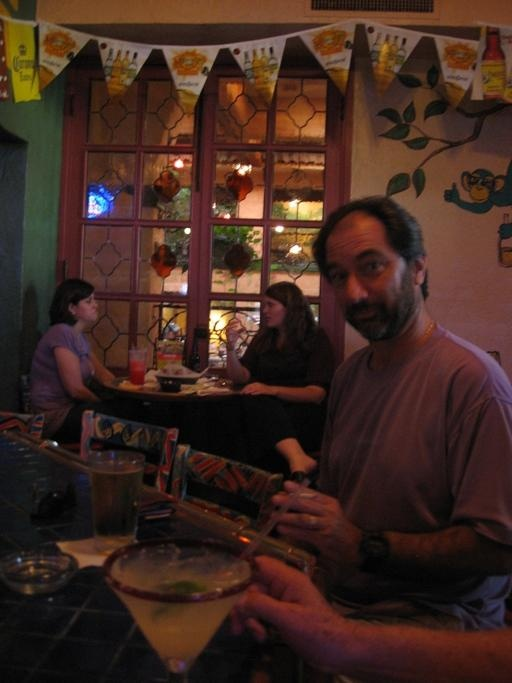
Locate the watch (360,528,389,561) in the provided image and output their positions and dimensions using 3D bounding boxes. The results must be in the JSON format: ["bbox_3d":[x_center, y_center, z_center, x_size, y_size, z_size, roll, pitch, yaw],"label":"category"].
[{"bbox_3d":[0.206,0.348,1.068,0.037,0.045,0.018,-8,-38,17],"label":"watch"}]

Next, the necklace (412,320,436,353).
[{"bbox_3d":[0.362,-0.008,1.303,0.014,0.052,0.054,35,-43,2],"label":"necklace"}]

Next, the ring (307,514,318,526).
[{"bbox_3d":[0.093,0.291,1.020,0.014,0.004,0.014,33,-33,25],"label":"ring"}]
